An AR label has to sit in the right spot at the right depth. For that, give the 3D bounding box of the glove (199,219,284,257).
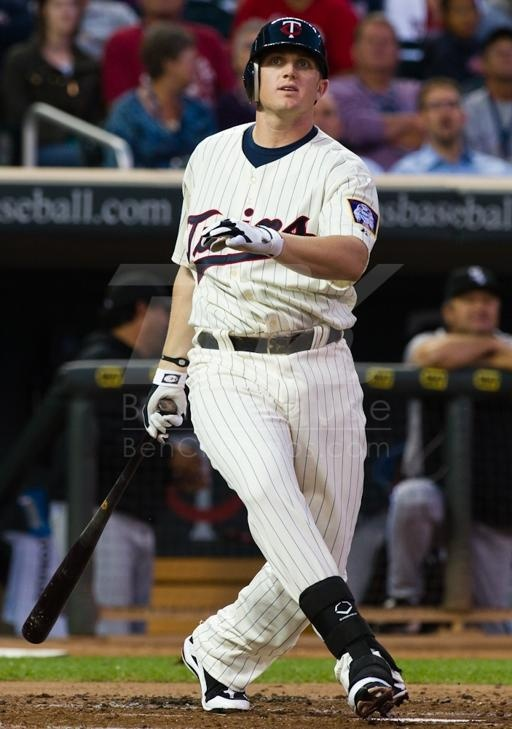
[{"bbox_3d":[-0.039,-0.248,2.605,0.094,0.052,0.126,25,9,40],"label":"glove"}]

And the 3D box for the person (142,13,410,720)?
[{"bbox_3d":[-0.004,0.045,2.805,0.599,1.570,0.916,-3,20,5],"label":"person"}]

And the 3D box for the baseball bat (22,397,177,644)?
[{"bbox_3d":[-0.518,0.559,4.285,0.176,1.026,0.116,38,-6,-25],"label":"baseball bat"}]

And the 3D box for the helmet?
[{"bbox_3d":[0.060,-0.737,2.993,0.190,0.186,0.222,2,-15,-4],"label":"helmet"}]

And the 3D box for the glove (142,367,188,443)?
[{"bbox_3d":[-0.222,0.106,3.060,0.109,0.172,0.073,0,3,-8],"label":"glove"}]

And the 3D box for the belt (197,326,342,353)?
[{"bbox_3d":[0.020,-0.056,2.843,0.341,0.049,0.123,-1,18,8],"label":"belt"}]
